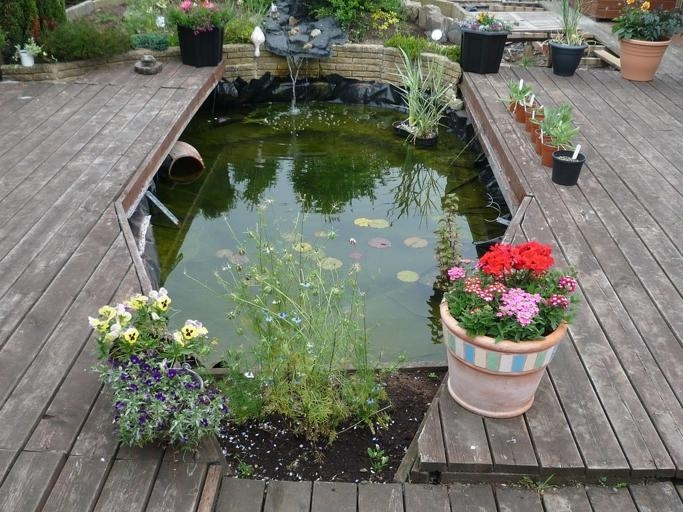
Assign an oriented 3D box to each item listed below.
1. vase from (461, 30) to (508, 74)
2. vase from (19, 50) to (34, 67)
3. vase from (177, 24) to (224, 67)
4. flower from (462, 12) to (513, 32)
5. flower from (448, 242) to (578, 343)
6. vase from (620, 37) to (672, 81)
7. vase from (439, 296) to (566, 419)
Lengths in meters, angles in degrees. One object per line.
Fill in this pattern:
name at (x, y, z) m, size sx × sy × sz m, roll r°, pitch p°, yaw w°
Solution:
vase at (1.956, -2.827, 6.285) m, size 0.566 × 0.406 × 0.575 m, roll 19°, pitch 40°, yaw 18°
vase at (-4.085, -2.552, 5.832) m, size 0.215 × 0.181 × 0.210 m, roll -14°, pitch 40°, yaw -29°
vase at (-1.918, -2.993, 6.436) m, size 0.584 × 0.420 × 0.589 m, roll 23°, pitch 42°, yaw 22°
flower at (1.995, -3.174, 6.120) m, size 0.650 × 0.171 × 0.467 m, roll 13°, pitch 42°, yaw 13°
flower at (0.777, 0.167, 2.126) m, size 0.502 × 0.290 × 0.509 m, roll -22°, pitch 54°, yaw -1°
vase at (3.979, -2.632, 6.047) m, size 0.603 × 0.439 × 0.590 m, roll -18°, pitch 38°, yaw -33°
vase at (0.863, 0.536, 2.325) m, size 0.581 × 0.438 × 0.587 m, roll 1°, pitch 15°, yaw 33°
